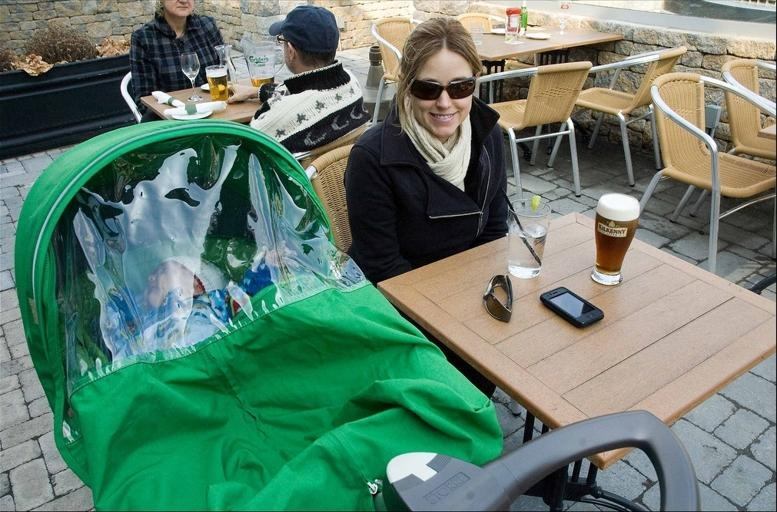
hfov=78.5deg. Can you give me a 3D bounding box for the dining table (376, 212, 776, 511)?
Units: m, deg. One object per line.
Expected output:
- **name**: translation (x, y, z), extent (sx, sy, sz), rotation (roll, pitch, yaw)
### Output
- **dining table**: translation (0.646, 0.388, 1.739), extent (0.891, 0.820, 0.876), rotation (-25, 45, -22)

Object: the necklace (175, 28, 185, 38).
- **necklace**: translation (-2.044, -2.172, 4.660), extent (0.091, 0.082, 0.088), rotation (-16, 39, -23)
